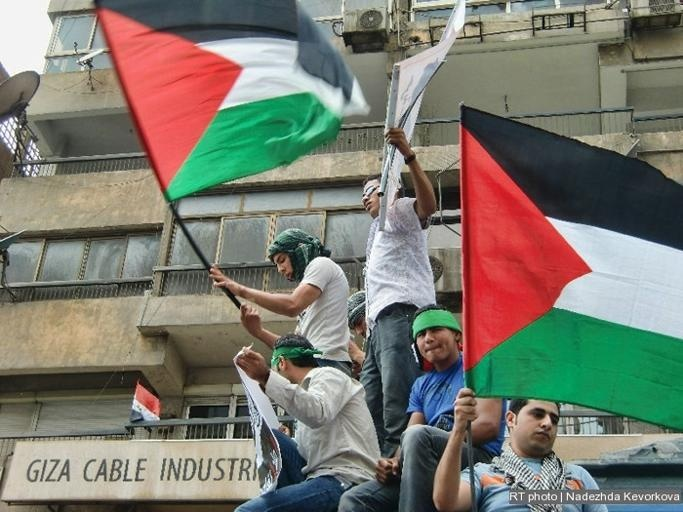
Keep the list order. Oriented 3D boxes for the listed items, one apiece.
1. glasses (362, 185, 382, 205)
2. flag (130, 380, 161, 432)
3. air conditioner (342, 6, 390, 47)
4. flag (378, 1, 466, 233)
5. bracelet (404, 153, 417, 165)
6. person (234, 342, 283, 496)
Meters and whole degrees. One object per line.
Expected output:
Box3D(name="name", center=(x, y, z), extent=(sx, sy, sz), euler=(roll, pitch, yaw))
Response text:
Box3D(name="glasses", center=(0.297, -0.575, 7.731), extent=(0.118, 0.121, 0.172), euler=(30, 39, -23))
Box3D(name="flag", center=(-3.540, 2.706, 15.123), extent=(0.103, 0.930, 0.822), euler=(-21, 51, 20))
Box3D(name="air conditioner", center=(0.624, -5.090, 19.025), extent=(1.295, 0.758, 0.861), euler=(-2, 57, 16))
Box3D(name="flag", center=(0.689, -1.224, 7.430), extent=(0.681, 1.921, 1.054), euler=(3, 21, 14))
Box3D(name="bracelet", center=(0.597, -0.861, 7.208), extent=(0.097, 0.111, 0.238), euler=(-2, 20, 2))
Box3D(name="person", center=(-0.627, 1.314, 6.500), extent=(0.292, 1.300, 0.917), euler=(-5, 20, -7))
